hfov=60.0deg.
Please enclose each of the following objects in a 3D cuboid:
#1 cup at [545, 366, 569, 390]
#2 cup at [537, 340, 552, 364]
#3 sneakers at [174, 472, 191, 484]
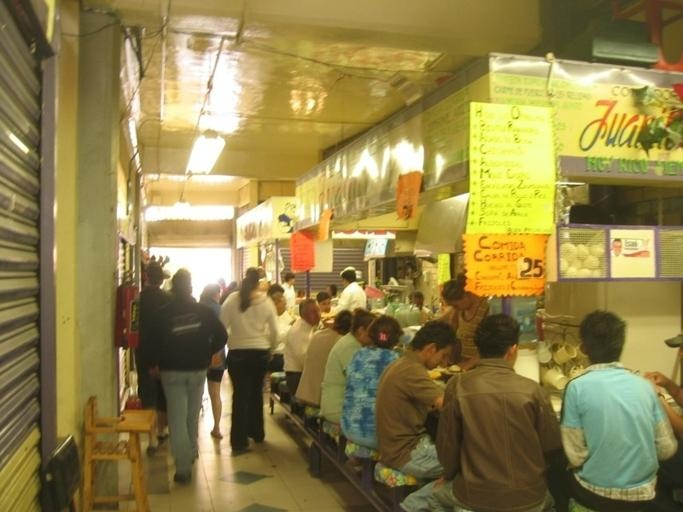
[{"bbox_3d":[1.525,0.839,4.188,0.133,0.161,0.121,-6,13,1],"label":"cup"},{"bbox_3d":[1.428,0.676,4.175,0.101,0.160,0.164,-10,-17,22],"label":"cup"},{"bbox_3d":[-1.429,1.977,5.301,0.066,0.051,0.126,2,1,-21],"label":"sneakers"}]
